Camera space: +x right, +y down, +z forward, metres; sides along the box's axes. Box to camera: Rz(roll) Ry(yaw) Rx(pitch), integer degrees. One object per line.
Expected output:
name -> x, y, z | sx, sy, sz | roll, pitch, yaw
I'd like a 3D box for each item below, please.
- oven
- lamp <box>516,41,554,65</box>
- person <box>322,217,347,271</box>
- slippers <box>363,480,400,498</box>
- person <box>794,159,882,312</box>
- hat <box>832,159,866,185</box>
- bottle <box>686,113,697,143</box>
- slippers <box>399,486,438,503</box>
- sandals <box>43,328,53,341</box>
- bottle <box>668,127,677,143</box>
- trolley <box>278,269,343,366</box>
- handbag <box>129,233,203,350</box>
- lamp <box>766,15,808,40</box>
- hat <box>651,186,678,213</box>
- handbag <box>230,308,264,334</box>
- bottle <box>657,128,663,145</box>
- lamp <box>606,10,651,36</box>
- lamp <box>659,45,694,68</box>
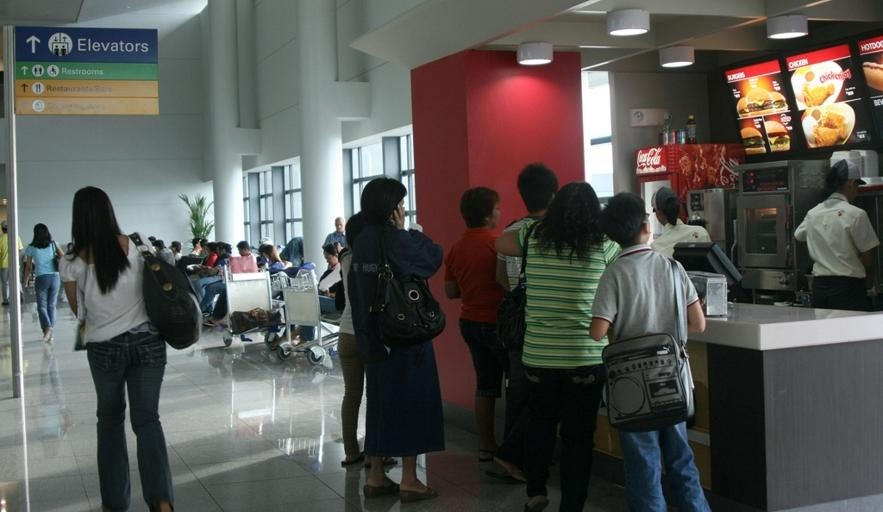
oven -> 4.261, -0.366, 7.665 | 0.817, 1.514, 0.917 | -2, 1, -16
lamp -> 0.890, -1.879, 5.827 | 0.238, 0.102, 0.229 | -3, 5, -30
person -> -1.933, -0.049, 11.734 | 0.654, 1.236, 0.366 | 0, -3, -9
slippers -> -0.444, 1.765, 4.738 | 0.309, 0.110, 0.107 | -2, -2, -21
person -> 3.907, -0.199, 6.077 | 0.586, 1.443, 0.311 | 1, 4, 29
hat -> 3.919, -0.823, 6.018 | 0.319, 0.219, 0.155 | -4, 5, -36
bottle -> 3.488, -1.751, 8.669 | 0.102, 0.392, 0.371 | 0, 4, 15
slippers -> -0.172, 1.761, 4.629 | 0.288, 0.088, 0.092 | -2, 0, -16
sandals -> -6.786, 1.382, 10.763 | 0.128, 0.269, 0.104 | 27, 7, 33
bottle -> 3.207, -1.644, 8.601 | 0.163, 0.158, 0.079 | 1, 4, 26
trolley -> -1.904, 0.823, 8.852 | 0.840, 1.312, 1.394 | -2, 4, -10
handbag -> -1.928, 0.228, 4.338 | 0.365, 0.835, 0.326 | -14, 2, -36
lamp -> 3.300, -2.186, 5.949 | 0.276, 0.125, 0.278 | 0, 1, 41
hat -> 2.104, -0.543, 5.877 | 0.197, 0.153, 0.264 | -1, 14, 0
handbag -> -2.985, 0.999, 9.532 | 0.517, 0.333, 0.275 | -2, 4, -15
bottle -> 3.100, -1.660, 8.793 | 0.037, 0.184, 0.266 | 0, 4, 15
lamp -> 1.672, -2.102, 5.569 | 0.359, 0.194, 0.172 | -1, 4, -4
lamp -> 2.448, -2.085, 6.600 | 0.292, 0.127, 0.277 | -1, 0, -7
